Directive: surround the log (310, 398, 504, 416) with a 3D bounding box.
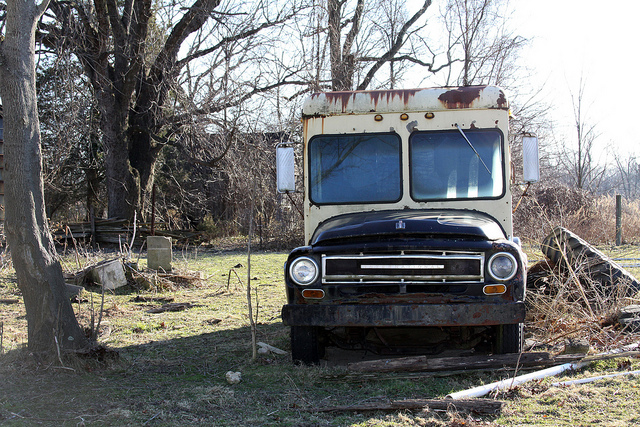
[{"bbox_3d":[1.177,2.422,8.415,2.220,0.167,0.201,-1,9,5],"label":"log"}]

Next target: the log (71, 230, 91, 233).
[{"bbox_3d":[-8.341,0.621,23.285,0.377,0.055,0.095,-4,-8,11],"label":"log"}]

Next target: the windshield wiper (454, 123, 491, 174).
[{"bbox_3d":[2.353,-0.971,10.123,0.061,0.861,0.092,-31,-9,-14],"label":"windshield wiper"}]

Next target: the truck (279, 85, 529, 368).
[{"bbox_3d":[1.635,0.158,12.197,3.630,4.262,7.025,-2,-1,14],"label":"truck"}]

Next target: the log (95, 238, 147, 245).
[{"bbox_3d":[-6.805,0.923,22.499,1.494,0.140,0.154,10,-5,-3],"label":"log"}]

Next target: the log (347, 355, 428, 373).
[{"bbox_3d":[0.954,2.079,9.151,1.176,0.224,0.253,-4,0,5],"label":"log"}]
